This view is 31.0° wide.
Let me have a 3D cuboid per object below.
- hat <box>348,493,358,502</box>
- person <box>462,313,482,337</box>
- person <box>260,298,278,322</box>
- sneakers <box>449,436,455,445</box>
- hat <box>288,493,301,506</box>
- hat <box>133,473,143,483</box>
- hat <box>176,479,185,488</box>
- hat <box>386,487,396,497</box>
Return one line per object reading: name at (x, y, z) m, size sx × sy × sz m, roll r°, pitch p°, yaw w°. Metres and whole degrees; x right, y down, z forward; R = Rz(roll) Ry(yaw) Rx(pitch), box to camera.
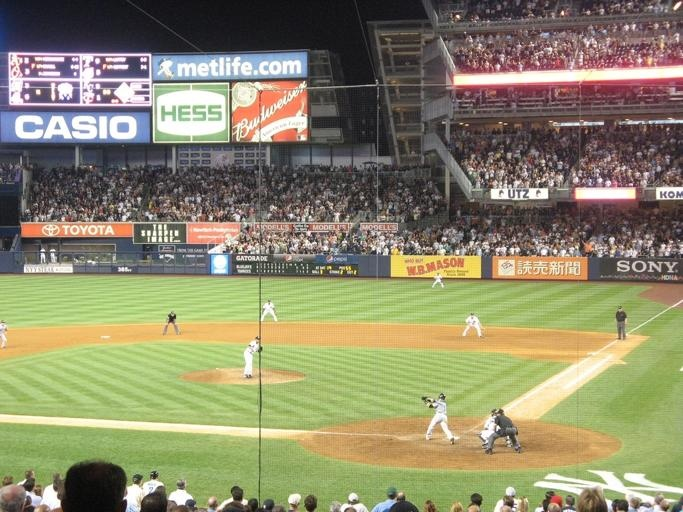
hat at (0.472, 10.090, 51.469) m, size 0.447 × 0.704 × 0.378 m, roll 5°, pitch 59°, yaw 2°
person at (7.470, 4.028, 71.220) m, size 0.695 × 1.578 × 1.431 m, roll -17°, pitch 20°, yaw -28°
person at (-4.356, 3.336, 74.381) m, size 1.306 × 1.647 × 0.456 m, roll 8°, pitch 38°, yaw 2°
sneakers at (5.023, 8.458, 56.592) m, size 0.129 × 0.373 × 0.160 m, roll -3°, pitch -9°, yaw 9°
hat at (-1.938, 9.971, 50.779) m, size 0.435 × 0.309 × 0.581 m, roll 7°, pitch 37°, yaw 3°
hat at (-8.604, 9.382, 52.242) m, size 0.301 × 0.325 × 0.416 m, roll 4°, pitch 14°, yaw 0°
hat at (-6.738, 9.568, 52.042) m, size 0.296 × 0.400 × 0.396 m, roll 9°, pitch 27°, yaw -4°
hat at (2.068, 9.943, 52.057) m, size 0.590 × 0.255 × 0.852 m, roll 2°, pitch 12°, yaw 2°
